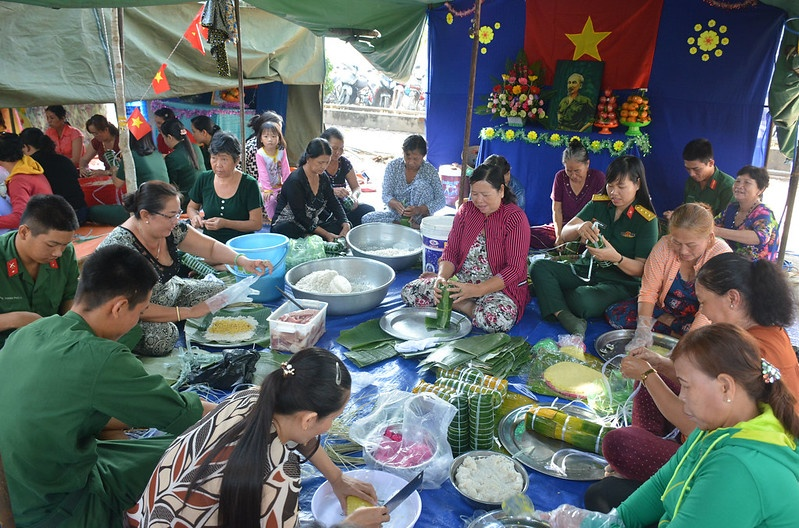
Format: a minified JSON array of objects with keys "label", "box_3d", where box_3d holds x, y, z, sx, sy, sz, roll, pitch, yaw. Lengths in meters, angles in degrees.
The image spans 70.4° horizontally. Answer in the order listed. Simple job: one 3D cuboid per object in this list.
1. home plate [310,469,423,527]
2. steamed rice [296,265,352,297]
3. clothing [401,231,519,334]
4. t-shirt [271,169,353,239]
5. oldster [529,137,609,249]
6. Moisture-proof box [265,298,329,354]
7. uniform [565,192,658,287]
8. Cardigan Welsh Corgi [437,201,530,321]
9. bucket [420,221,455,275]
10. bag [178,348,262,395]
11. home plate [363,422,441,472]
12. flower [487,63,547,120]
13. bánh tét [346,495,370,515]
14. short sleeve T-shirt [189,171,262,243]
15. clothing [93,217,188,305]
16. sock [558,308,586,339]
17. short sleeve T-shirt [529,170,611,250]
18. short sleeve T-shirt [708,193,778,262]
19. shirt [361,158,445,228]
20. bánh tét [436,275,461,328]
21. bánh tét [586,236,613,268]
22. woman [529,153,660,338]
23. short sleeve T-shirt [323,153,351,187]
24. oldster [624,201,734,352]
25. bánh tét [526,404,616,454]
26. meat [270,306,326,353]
[{"label":"home plate","box_3d":[-0.137,1.426,3.364,0.419,0.093,0.436,2,17,3]},{"label":"steamed rice","box_3d":[-0.736,0.174,5.233,0.620,0.133,0.429,17,22,40]},{"label":"clothing","box_3d":[0.603,0.189,5.211,0.743,0.768,0.521,24,15,33]},{"label":"t-shirt","box_3d":[-1.034,-0.687,6.577,0.779,0.683,0.823,15,19,31]},{"label":"oldster","box_3d":[1.906,-0.728,6.355,1.118,1.146,0.760,0,29,24]},{"label":"Moisture-proof box","box_3d":[-0.946,0.539,4.844,0.364,0.255,0.544,8,16,-5]},{"label":"uniform","box_3d":[1.992,-0.212,5.451,0.838,0.870,0.460,20,35,11]},{"label":"Cardigan Welsh Corgi","box_3d":[0.815,-0.059,5.409,0.983,1.053,0.786,17,28,42]},{"label":"bucket","box_3d":[0.388,-0.163,5.584,0.374,0.572,0.380,1,18,0]},{"label":"bag","box_3d":[-1.384,0.838,4.364,0.420,0.173,0.320,-5,11,-7]},{"label":"home plate","box_3d":[0.032,1.225,3.729,0.292,0.111,0.298,-10,23,-19]},{"label":"flower","box_3d":[1.742,-2.546,8.402,0.846,0.823,0.848,1,20,0]},{"label":"bánh tét","box_3d":[-0.244,1.412,3.313,0.125,0.096,0.072,14,5,-9]},{"label":"short sleeve T-shirt","box_3d":[-1.869,-0.597,6.076,0.758,0.740,0.399,2,11,-3]},{"label":"clothing","box_3d":[-1.849,-0.015,4.096,0.321,0.541,0.591,11,26,12]},{"label":"sock","box_3d":[1.567,0.537,5.124,0.065,0.151,0.256,-32,24,-8]},{"label":"short sleeve T-shirt","box_3d":[1.950,-0.568,6.481,0.852,0.875,0.585,10,30,26]},{"label":"short sleeve T-shirt","box_3d":[3.287,-0.343,5.388,0.342,0.522,0.655,-10,14,-8]},{"label":"shirt","box_3d":[0.081,-0.978,7.333,1.090,1.049,0.806,7,21,8]},{"label":"bánh tét","box_3d":[0.436,0.359,5.029,0.130,0.418,0.231,15,22,36]},{"label":"bánh tét","box_3d":[1.861,-0.116,5.199,0.172,0.180,0.172,30,63,25]},{"label":"woman","box_3d":[1.890,-0.173,5.411,1.017,1.660,0.848,-3,23,-13]},{"label":"short sleeve T-shirt","box_3d":[-0.795,-1.175,7.053,0.493,0.484,0.272,-13,19,-40]},{"label":"oldster","box_3d":[2.182,0.126,4.474,0.658,0.914,0.810,32,71,38]},{"label":"bánh tét","box_3d":[1.140,1.123,3.854,0.593,0.244,0.218,12,32,26]},{"label":"meat","box_3d":[-0.908,0.593,4.852,0.343,0.240,0.528,8,4,8]}]
